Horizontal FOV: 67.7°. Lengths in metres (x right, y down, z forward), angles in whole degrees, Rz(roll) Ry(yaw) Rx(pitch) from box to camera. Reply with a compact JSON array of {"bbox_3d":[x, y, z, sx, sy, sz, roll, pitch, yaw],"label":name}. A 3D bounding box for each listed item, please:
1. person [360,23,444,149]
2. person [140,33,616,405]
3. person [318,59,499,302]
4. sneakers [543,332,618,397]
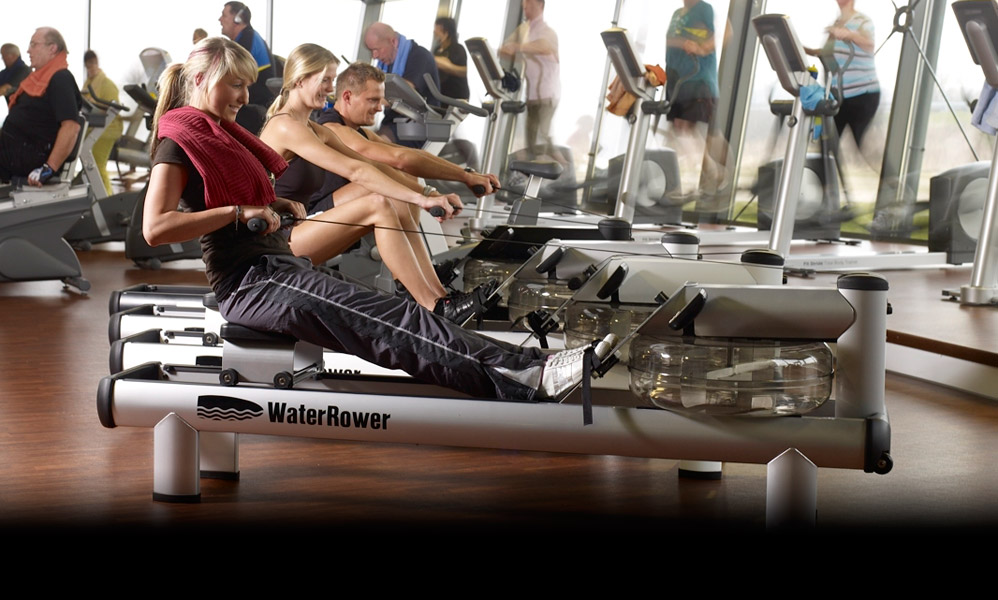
[{"bbox_3d":[-0.911,-1.830,6.510,0.738,1.060,0.721,-2,22,18],"label":"person"},{"bbox_3d":[-0.415,-0.260,2.521,1.607,0.937,0.745,15,22,-2],"label":"person"},{"bbox_3d":[-0.532,-0.662,3.278,0.787,0.542,0.467,32,28,0],"label":"person"},{"bbox_3d":[0.220,0.202,2.205,0.100,0.257,0.141,44,37,-26],"label":"sneakers"}]
